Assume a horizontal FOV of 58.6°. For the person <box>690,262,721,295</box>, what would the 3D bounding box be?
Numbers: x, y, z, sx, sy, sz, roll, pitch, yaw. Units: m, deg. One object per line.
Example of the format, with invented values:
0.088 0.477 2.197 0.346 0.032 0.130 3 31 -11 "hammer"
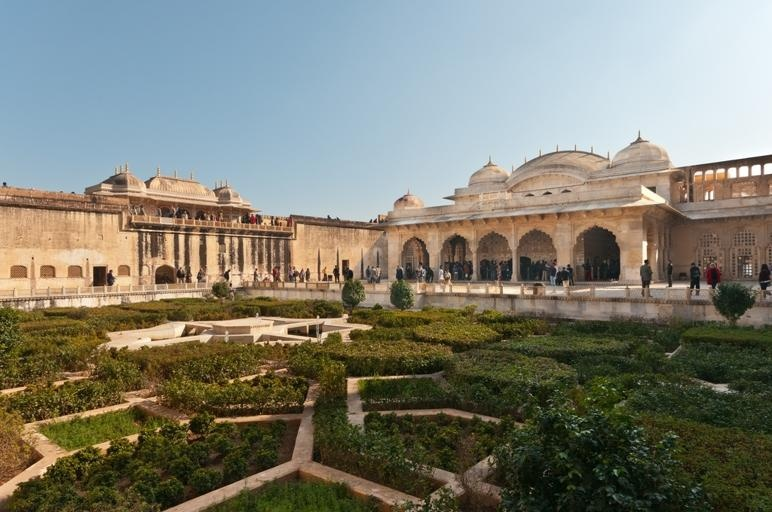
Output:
10.685 0.743 22.884 0.235 0.994 0.846 12 -8 -21 "person"
